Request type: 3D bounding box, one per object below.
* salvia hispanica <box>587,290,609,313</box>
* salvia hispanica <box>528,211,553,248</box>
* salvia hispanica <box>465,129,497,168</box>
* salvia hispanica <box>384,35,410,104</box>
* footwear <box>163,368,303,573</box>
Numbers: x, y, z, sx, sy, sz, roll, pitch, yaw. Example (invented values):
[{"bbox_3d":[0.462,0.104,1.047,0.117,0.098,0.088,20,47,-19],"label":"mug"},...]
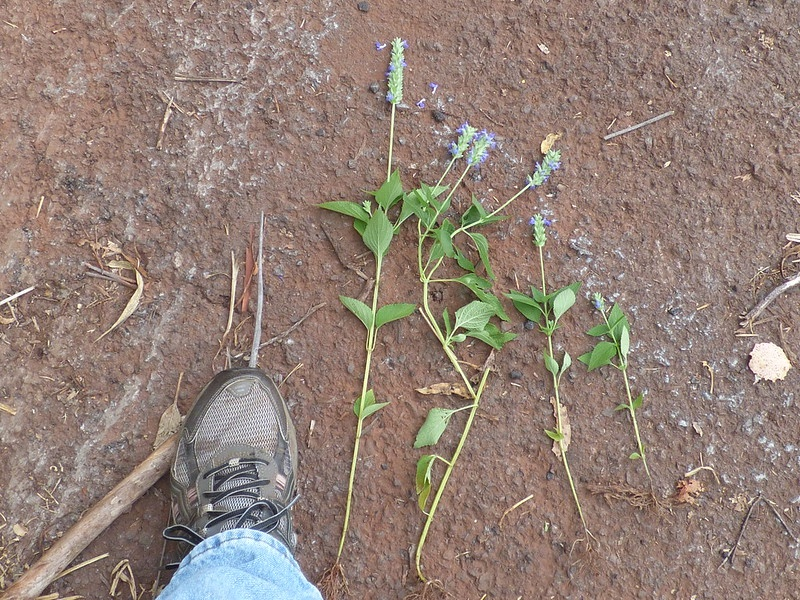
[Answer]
[{"bbox_3d":[0.861,0.007,3.182,0.037,0.080,0.056,-28,37,3],"label":"salvia hispanica"},{"bbox_3d":[0.616,-0.308,3.179,0.091,0.106,0.183,4,47,-1],"label":"salvia hispanica"},{"bbox_3d":[0.349,-0.659,3.166,0.087,0.082,0.145,40,60,-21],"label":"salvia hispanica"},{"bbox_3d":[-0.024,-1.013,3.197,0.104,0.131,0.412,3,64,8],"label":"salvia hispanica"},{"bbox_3d":[-0.718,0.661,3.057,0.346,0.447,1.051,1,89,-10],"label":"footwear"}]
